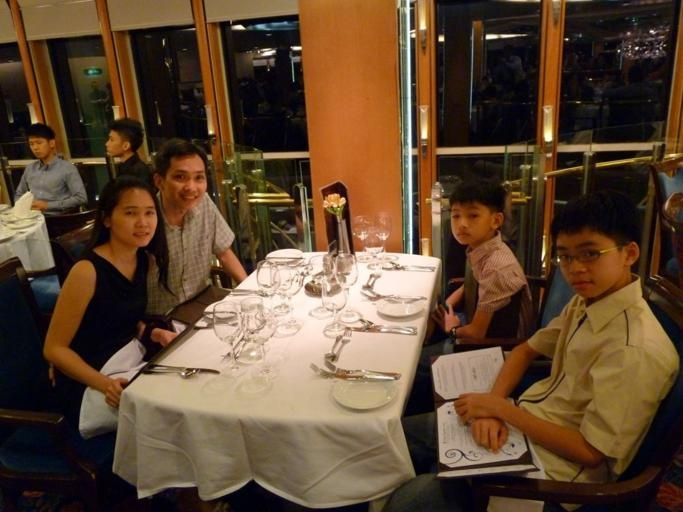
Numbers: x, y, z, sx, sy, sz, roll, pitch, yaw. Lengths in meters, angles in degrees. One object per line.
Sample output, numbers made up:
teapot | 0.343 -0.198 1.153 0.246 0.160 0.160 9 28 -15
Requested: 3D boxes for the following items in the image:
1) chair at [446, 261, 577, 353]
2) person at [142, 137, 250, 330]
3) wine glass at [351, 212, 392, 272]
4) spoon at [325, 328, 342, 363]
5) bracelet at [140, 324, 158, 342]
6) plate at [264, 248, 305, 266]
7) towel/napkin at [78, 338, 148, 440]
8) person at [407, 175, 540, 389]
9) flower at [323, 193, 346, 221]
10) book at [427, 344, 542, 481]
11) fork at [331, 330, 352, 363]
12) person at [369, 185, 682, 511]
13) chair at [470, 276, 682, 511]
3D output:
chair | 0.784 0.327 2.436 0.303 0.263 0.438 -19 28 -11
person | -0.889 -0.127 2.932 0.658 0.975 0.506 -16 30 -40
wine glass | 0.197 -0.106 3.028 0.281 0.445 0.277 0 14 9
spoon | -0.023 0.378 2.127 0.036 0.057 0.116 16 20 9
bracelet | -0.912 0.369 2.450 0.061 0.070 0.071 6 -7 -18
plate | -0.326 0.008 3.080 0.129 0.028 0.135 7 24 13
towel/napkin | -0.973 0.585 2.225 0.120 0.348 0.334 22 -2 -26
person | 0.645 0.214 2.798 0.699 1.199 0.525 2 13 0
flower | -0.057 -0.308 3.196 0.134 0.162 0.148 -13 20 -18
book | 0.486 0.614 1.785 0.267 0.057 0.669 -8 26 12
fork | 0.000 0.381 2.145 0.042 0.044 0.145 10 26 11
person | 0.710 0.118 2.411 1.138 1.901 0.937 9 25 16
chair | 0.849 0.513 1.824 0.420 0.764 0.677 16 32 14
